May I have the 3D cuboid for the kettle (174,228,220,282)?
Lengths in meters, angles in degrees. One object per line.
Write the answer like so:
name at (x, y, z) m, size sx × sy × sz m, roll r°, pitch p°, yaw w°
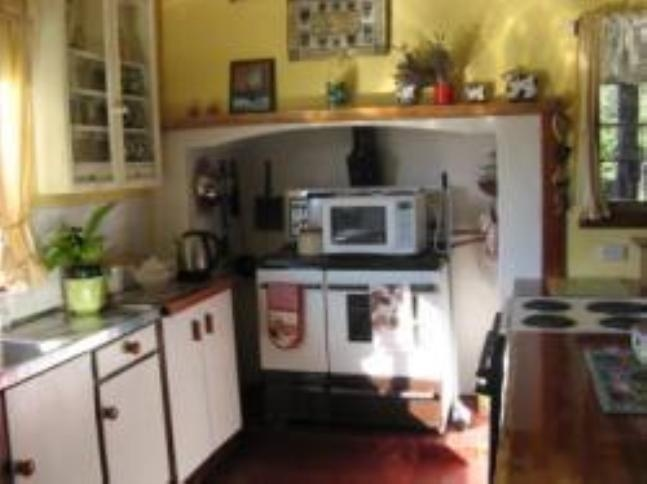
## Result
kettle at (-0.864, 0.087, 3.702) m, size 0.217 × 0.361 × 0.351 m, roll 1°, pitch 2°, yaw 31°

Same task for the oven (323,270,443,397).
oven at (0.434, 0.600, 3.896) m, size 0.767 × 0.800 × 0.592 m, roll -1°, pitch 1°, yaw 8°

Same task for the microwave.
microwave at (0.318, -0.084, 3.943) m, size 0.624 × 0.395 × 0.422 m, roll -1°, pitch -5°, yaw 4°

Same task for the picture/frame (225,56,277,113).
picture/frame at (-0.479, -1.086, 3.801) m, size 0.389 × 0.407 × 0.029 m, roll 2°, pitch 7°, yaw 14°

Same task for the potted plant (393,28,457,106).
potted plant at (0.641, -1.087, 3.518) m, size 0.369 × 0.429 × 0.216 m, roll 4°, pitch 9°, yaw 19°

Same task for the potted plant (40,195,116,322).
potted plant at (-1.295, 0.094, 2.920) m, size 0.314 × 0.528 × 0.374 m, roll -3°, pitch 8°, yaw -13°

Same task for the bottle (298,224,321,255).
bottle at (-0.095, 0.002, 3.943) m, size 0.165 × 0.180 × 0.113 m, roll -2°, pitch 7°, yaw -2°

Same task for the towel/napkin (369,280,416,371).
towel/napkin at (0.433, 0.572, 3.637) m, size 0.275 × 0.666 × 0.057 m, roll 2°, pitch -32°, yaw 0°
